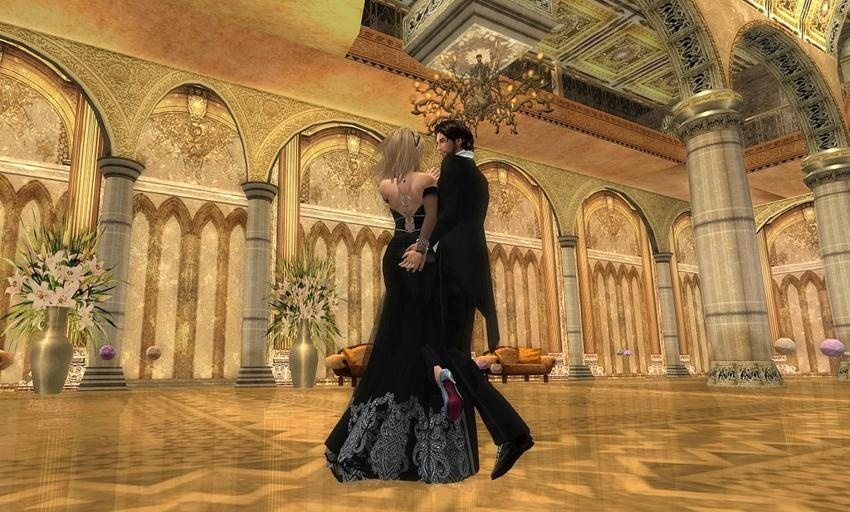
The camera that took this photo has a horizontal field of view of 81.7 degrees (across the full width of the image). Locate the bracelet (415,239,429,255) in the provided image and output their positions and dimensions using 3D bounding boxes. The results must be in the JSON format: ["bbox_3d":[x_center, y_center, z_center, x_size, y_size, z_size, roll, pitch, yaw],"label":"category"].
[{"bbox_3d":[-0.021,-0.073,3.583,0.104,0.096,0.096,0,-1,33],"label":"bracelet"}]

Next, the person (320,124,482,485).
[{"bbox_3d":[-0.181,0.296,3.659,1.005,2.589,0.337,-3,-14,9],"label":"person"}]
